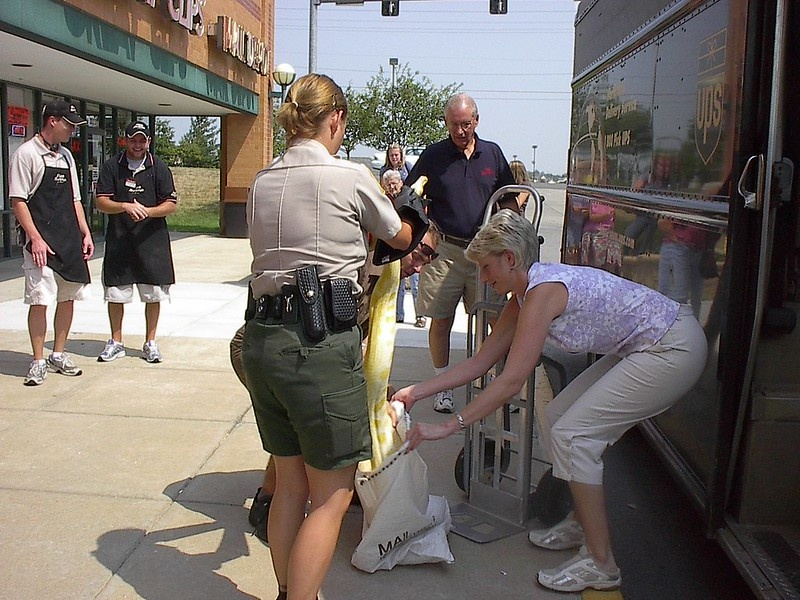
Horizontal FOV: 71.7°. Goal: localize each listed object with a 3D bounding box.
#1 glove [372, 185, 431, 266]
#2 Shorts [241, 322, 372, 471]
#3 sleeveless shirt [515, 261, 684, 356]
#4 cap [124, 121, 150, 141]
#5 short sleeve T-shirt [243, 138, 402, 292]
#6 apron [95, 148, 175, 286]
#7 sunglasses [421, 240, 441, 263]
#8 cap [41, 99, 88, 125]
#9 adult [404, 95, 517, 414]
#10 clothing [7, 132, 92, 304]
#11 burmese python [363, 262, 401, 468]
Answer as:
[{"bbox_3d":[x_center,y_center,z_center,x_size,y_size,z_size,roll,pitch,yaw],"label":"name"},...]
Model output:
[{"bbox_3d":[0.038,-0.335,2.391,0.154,0.328,0.228,31,-28,-9],"label":"glove"},{"bbox_3d":[-0.393,0.338,2.190,0.504,0.559,0.370,5,11,40],"label":"Shorts"},{"bbox_3d":[0.940,0.057,2.595,0.580,0.252,0.453,-3,28,1],"label":"sleeveless shirt"},{"bbox_3d":[-2.806,-1.823,5.894,0.216,0.202,0.333,-4,12,-28],"label":"cap"},{"bbox_3d":[-0.323,-0.331,2.252,0.675,0.644,0.447,7,10,33],"label":"short sleeve T-shirt"},{"bbox_3d":[-2.845,-0.870,5.975,0.771,1.418,0.492,-3,11,-26],"label":"apron"},{"bbox_3d":[0.137,-0.234,2.630,0.077,0.023,0.075,41,-2,36],"label":"sunglasses"},{"bbox_3d":[-3.240,-1.818,5.321,0.424,0.230,0.278,5,17,-28],"label":"cap"},{"bbox_3d":[0.521,-0.385,4.760,1.028,2.690,0.887,-2,13,-1],"label":"adult"},{"bbox_3d":[-3.402,-0.777,5.351,0.581,1.608,0.556,-6,12,-36],"label":"clothing"},{"bbox_3d":[-0.080,0.283,2.609,0.141,1.063,0.146,6,-11,-2],"label":"burmese python"}]
